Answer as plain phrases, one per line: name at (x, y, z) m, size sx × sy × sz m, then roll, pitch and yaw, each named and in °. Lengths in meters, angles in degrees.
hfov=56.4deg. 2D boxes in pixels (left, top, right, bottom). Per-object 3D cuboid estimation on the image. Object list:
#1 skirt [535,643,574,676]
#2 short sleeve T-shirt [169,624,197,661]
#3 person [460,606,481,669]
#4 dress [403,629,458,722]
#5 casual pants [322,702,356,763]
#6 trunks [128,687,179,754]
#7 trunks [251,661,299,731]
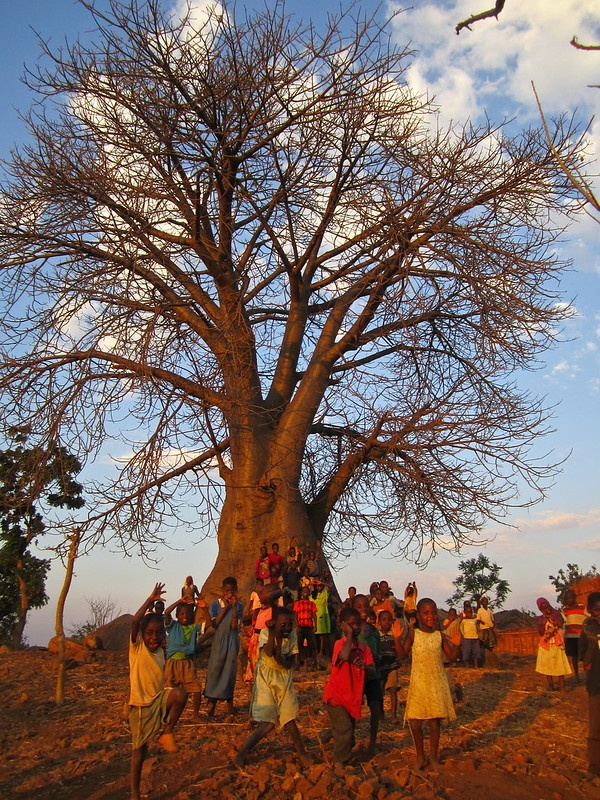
skirt at (3.945, 4.121, 8.811) m, size 0.458 × 0.468 × 0.429 m, roll -10°, pitch -25°, yaw 17°
short sleeve T-shirt at (-1.292, 2.669, 6.144) m, size 0.388 × 0.362 × 0.217 m, roll 15°, pitch -38°, yaw -21°
person at (3.679, 5.148, 12.229) m, size 0.440 × 1.311 × 1.322 m, roll -9°, pitch -24°, yaw 13°
dress at (0.947, 2.068, 4.208) m, size 0.377 × 0.617 × 0.313 m, roll -2°, pitch -24°, yaw -2°
casual pants at (0.302, 2.393, 3.984) m, size 0.177 × 0.409 × 0.325 m, roll -4°, pitch -24°, yaw 2°
trunks at (-0.976, 2.111, 3.689) m, size 0.280 × 0.333 × 0.144 m, roll 4°, pitch -25°, yaw -15°
trunks at (-0.186, 2.125, 4.061) m, size 0.329 × 0.465 × 0.220 m, roll 1°, pitch -24°, yaw -8°
